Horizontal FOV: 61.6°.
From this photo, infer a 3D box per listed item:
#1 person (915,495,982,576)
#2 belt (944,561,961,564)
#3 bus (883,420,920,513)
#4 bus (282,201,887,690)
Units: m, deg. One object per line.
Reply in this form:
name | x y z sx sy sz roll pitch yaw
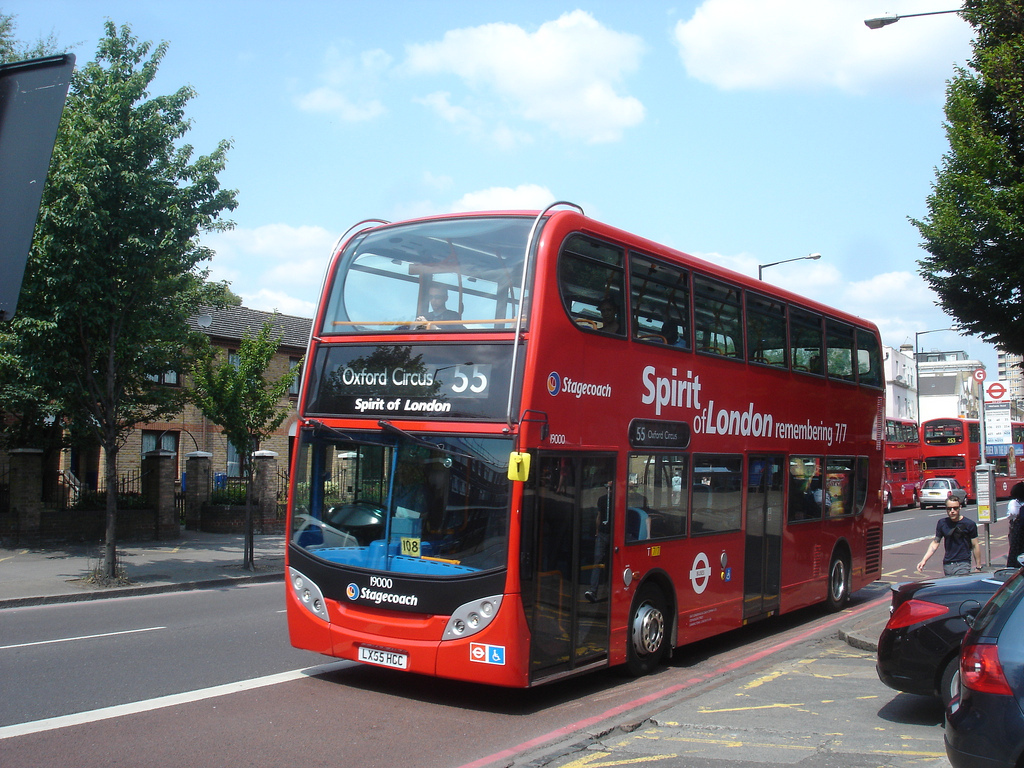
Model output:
person | 7.131 2.460 13.803 0.677 1.331 1.156 -2 -3 28
belt | 7.064 2.870 13.683 0.274 0.050 0.080 -4 -5 43
bus | 22.361 4.579 49.123 1.230 5.028 6.413 -2 -4 31
bus | 2.444 1.127 14.282 3.446 5.553 12.100 0 -4 39
